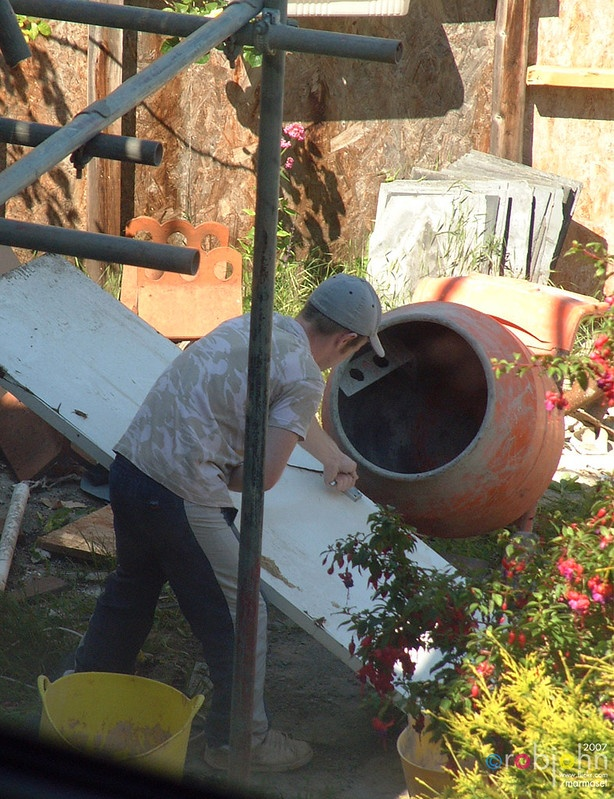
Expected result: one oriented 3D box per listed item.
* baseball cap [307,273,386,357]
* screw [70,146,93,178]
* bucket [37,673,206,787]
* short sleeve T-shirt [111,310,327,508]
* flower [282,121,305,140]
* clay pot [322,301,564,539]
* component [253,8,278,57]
[{"bbox_3d":[0.120,-0.233,2.751,0.215,0.119,0.149,34,13,-20],"label":"baseball cap"},{"bbox_3d":[-0.352,-0.370,1.552,0.029,0.047,0.074,6,10,-13],"label":"screw"},{"bbox_3d":[-0.395,0.766,2.310,0.363,0.272,0.285,2,20,0],"label":"bucket"},{"bbox_3d":[-0.232,0.021,2.616,0.506,0.515,0.281,8,12,-2],"label":"short sleeve T-shirt"},{"bbox_3d":[-0.083,-1.686,6.226,0.122,0.106,0.062,-5,-22,-25],"label":"flower"},{"bbox_3d":[0.502,0.077,3.666,0.770,0.677,0.875,30,14,19],"label":"clay pot"},{"bbox_3d":[-0.085,-0.670,1.817,0.059,0.071,0.030,15,13,43],"label":"component"}]
